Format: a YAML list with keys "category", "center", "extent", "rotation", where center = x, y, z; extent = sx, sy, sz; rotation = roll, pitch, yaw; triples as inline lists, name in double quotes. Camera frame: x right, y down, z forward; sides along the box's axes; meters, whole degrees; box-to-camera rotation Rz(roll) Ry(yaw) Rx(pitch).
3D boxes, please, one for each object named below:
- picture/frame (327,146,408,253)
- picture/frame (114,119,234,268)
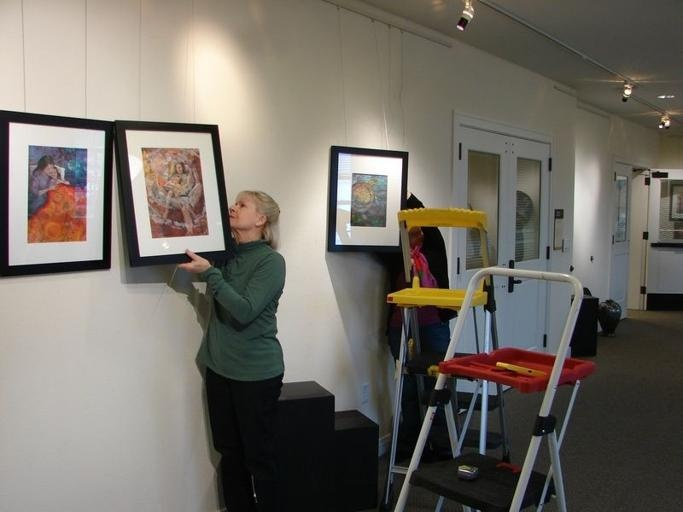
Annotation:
- category: "picture/frame"
  center: [0.166, -0.404, 3.903]
  extent: [0.716, 0.864, 0.057]
  rotation: [2, -2, -30]
- category: "picture/frame"
  center: [-0.935, -0.329, 2.898]
  extent: [0.680, 0.977, 0.064]
  rotation: [-7, 2, -34]
